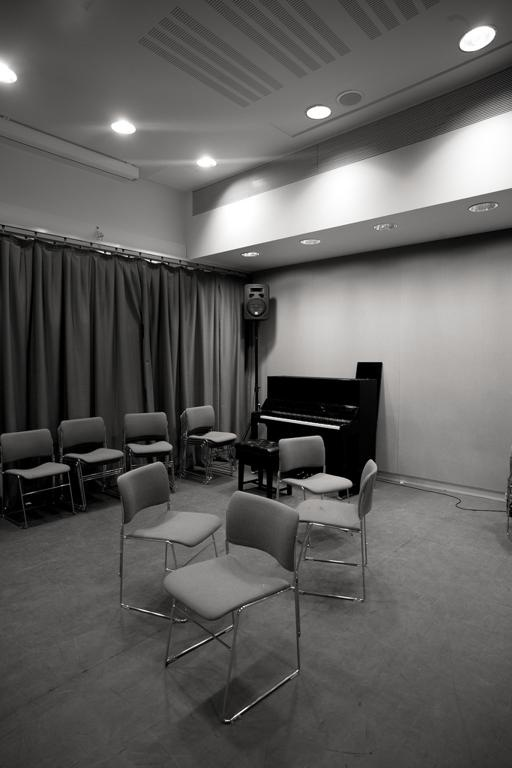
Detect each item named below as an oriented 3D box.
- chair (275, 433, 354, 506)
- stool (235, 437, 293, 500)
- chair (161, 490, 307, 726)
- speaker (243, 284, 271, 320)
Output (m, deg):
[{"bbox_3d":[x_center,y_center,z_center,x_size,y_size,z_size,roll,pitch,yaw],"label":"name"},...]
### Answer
[{"bbox_3d":[0.483,0.669,3.807,0.459,0.868,0.540,-2,1,-28],"label":"chair"},{"bbox_3d":[0.025,0.724,4.499,0.471,0.783,0.412,-3,-6,40],"label":"stool"},{"bbox_3d":[-0.187,0.769,2.066,0.524,1.133,0.580,-4,8,-42],"label":"chair"},{"bbox_3d":[0.002,-0.941,5.883,0.325,0.724,0.316,1,1,-2],"label":"speaker"}]
